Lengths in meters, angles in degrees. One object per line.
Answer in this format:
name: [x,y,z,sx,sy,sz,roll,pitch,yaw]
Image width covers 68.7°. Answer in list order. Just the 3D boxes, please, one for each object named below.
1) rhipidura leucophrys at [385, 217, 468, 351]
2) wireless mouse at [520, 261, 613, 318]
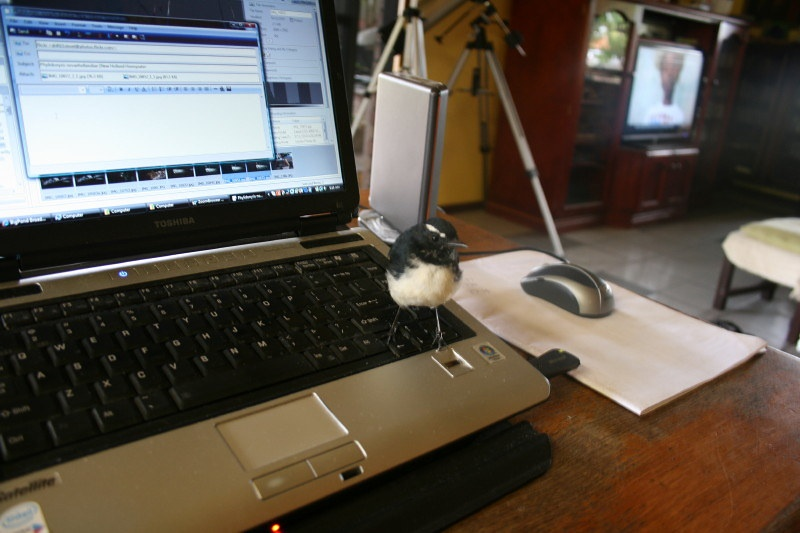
rhipidura leucophrys: [0.018,0.008,0.813,0.150,0.148,0.117,-8,26,-43]
wireless mouse: [0.256,0.020,0.909,0.112,0.056,0.150,-11,23,-22]
